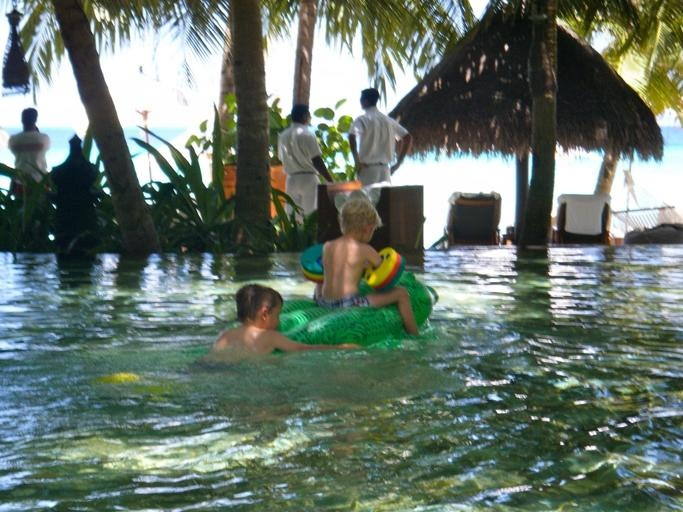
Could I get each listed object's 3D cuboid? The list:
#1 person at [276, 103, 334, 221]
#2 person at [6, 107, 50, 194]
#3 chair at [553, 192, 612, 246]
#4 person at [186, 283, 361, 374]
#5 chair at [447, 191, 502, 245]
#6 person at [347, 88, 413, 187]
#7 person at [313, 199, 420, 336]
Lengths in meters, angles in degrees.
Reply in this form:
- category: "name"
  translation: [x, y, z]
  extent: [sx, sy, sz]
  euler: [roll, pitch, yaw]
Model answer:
- category: "person"
  translation: [-0.586, -1.445, 9.584]
  extent: [0.754, 1.635, 0.436]
  euler: [0, 8, 2]
- category: "person"
  translation: [-4.747, -1.626, 9.634]
  extent: [0.572, 1.294, 1.574]
  euler: [-4, 10, -26]
- category: "chair"
  translation: [4.816, -0.764, 13.122]
  extent: [0.834, 1.429, 1.007]
  euler: [2, 8, 7]
- category: "person"
  translation: [-0.510, 0.431, 3.753]
  extent: [1.021, 0.520, 0.437]
  euler: [5, 7, 33]
- category: "chair"
  translation: [2.809, -0.813, 13.490]
  extent: [0.870, 1.542, 1.104]
  euler: [1, 9, 3]
- category: "person"
  translation: [0.557, -1.756, 9.356]
  extent: [0.533, 1.390, 1.043]
  euler: [7, 11, 42]
- category: "person"
  translation: [0.101, 0.110, 4.568]
  extent: [0.509, 1.107, 0.950]
  euler: [5, -7, -41]
